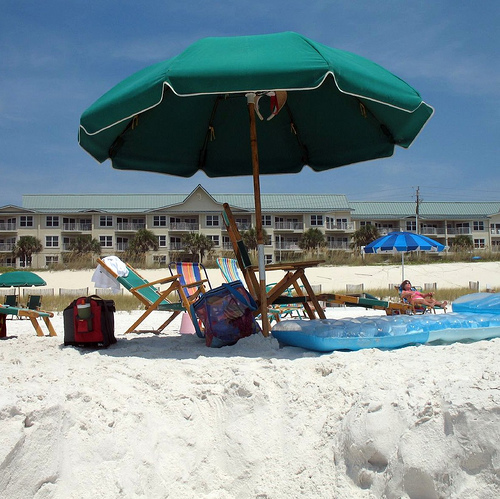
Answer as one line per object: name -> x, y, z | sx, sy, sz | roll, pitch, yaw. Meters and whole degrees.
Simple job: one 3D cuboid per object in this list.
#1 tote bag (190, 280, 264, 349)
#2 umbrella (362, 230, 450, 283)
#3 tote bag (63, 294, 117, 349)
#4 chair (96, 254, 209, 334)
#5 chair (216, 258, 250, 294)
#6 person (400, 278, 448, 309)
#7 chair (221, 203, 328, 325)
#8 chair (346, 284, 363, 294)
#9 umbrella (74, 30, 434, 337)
tote bag -> -0.270, 0.559, 6.176 | 0.675, 0.635, 0.500 | -28, 53, -35
umbrella -> 2.832, 0.152, 11.656 | 1.250, 1.045, 1.515 | -1, -1, -1
tote bag -> -1.603, 0.706, 6.261 | 0.447, 0.539, 0.425 | -1, -1, -10
chair -> -1.192, 0.551, 7.856 | 1.237, 1.069, 0.907 | -3, 2, 1
chair -> -0.276, 0.240, 7.794 | 0.436, 0.444, 0.488 | -4, -8, -5
person -> 3.703, 0.899, 13.091 | 0.732, 0.662, 1.107 | 5, 0, -43
chair -> 0.273, 0.197, 6.762 | 1.066, 1.723, 1.123 | -5, -2, -8
chair -> 2.951, 1.102, 17.699 | 0.326, 0.298, 0.373 | -1, -2, 7
umbrella -> 0.064, -0.762, 6.671 | 3.242, 2.791, 3.213 | -6, 12, -6
